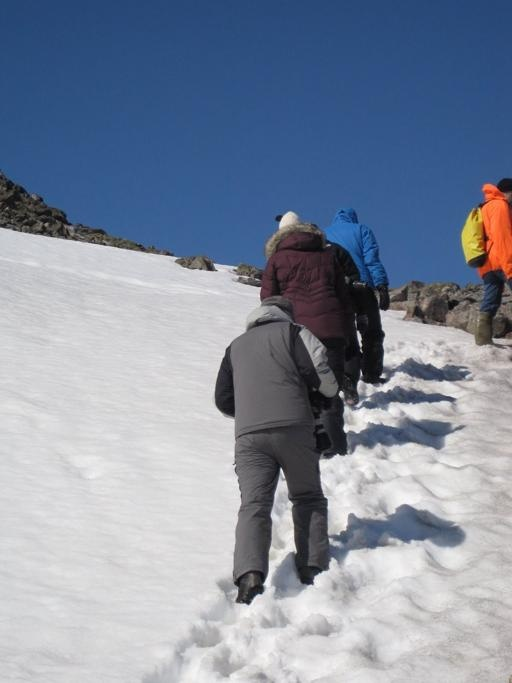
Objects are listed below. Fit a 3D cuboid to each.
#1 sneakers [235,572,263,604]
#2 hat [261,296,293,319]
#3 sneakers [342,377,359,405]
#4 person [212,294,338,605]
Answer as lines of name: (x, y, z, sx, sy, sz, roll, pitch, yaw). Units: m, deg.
sneakers: (-0.044, 1.420, 5.377, 0.165, 0.179, 0.166, -9, 28, 8)
hat: (0.146, -0.218, 6.448, 0.146, 0.172, 0.184, -18, -45, 17)
sneakers: (0.945, 0.515, 9.436, 0.123, 0.325, 0.139, -6, -30, -3)
person: (0.108, 0.716, 5.823, 0.768, 1.525, 1.064, -6, 12, 13)
